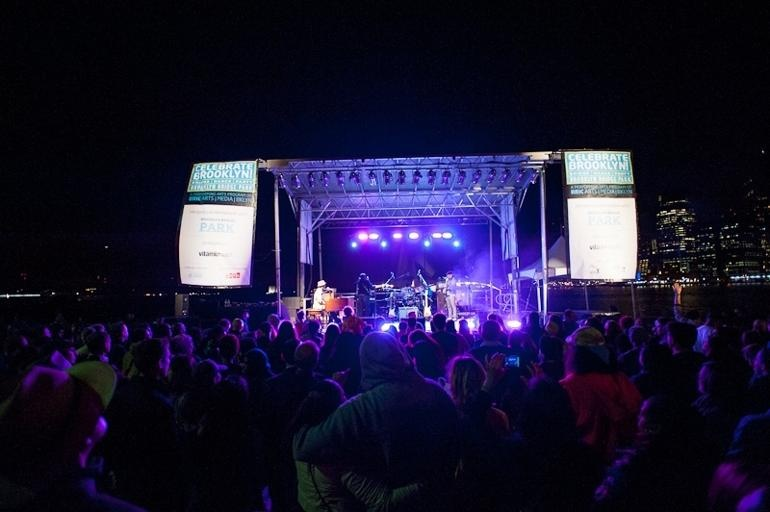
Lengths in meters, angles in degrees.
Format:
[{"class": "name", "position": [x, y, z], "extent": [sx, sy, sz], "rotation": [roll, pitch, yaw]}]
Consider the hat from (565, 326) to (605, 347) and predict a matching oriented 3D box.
[{"class": "hat", "position": [2.638, 1.054, 7.906], "extent": [0.498, 0.193, 0.364], "rotation": [0, -5, 12]}]
